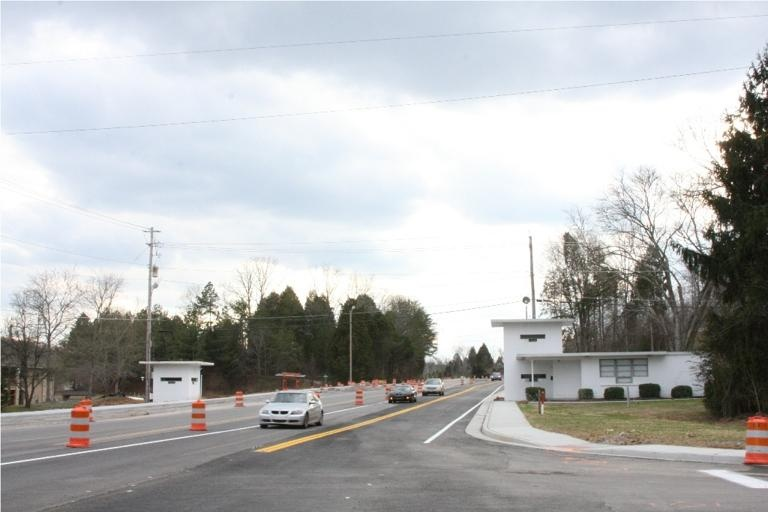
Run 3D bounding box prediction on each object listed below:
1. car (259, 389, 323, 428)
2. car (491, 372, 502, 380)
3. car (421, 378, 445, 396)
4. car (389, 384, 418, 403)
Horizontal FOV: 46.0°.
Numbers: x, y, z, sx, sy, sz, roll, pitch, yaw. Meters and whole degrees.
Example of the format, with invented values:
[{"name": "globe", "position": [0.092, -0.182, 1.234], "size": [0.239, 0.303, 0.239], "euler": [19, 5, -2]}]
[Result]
[{"name": "car", "position": [-4.596, 7.756, 46.217], "size": [3.291, 2.168, 1.957], "euler": [12, -18, -35]}, {"name": "car", "position": [16.874, 18.063, 135.785], "size": [1.151, 1.177, 2.195], "euler": [-3, -17, 9]}, {"name": "car", "position": [4.426, 11.583, 79.822], "size": [1.775, 1.610, 2.044], "euler": [-2, -15, 10]}, {"name": "car", "position": [1.389, 10.257, 67.305], "size": [2.144, 1.546, 2.299], "euler": [2, -15, -3]}]
